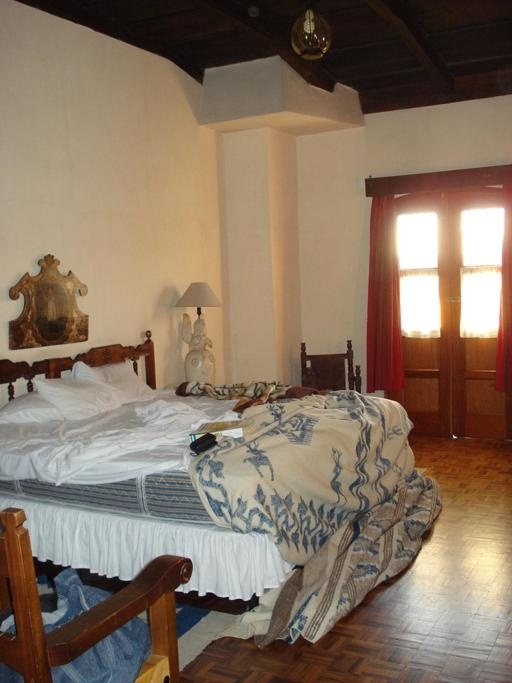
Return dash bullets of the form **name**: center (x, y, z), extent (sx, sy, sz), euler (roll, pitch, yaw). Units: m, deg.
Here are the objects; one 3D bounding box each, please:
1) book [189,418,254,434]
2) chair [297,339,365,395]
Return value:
- **book**: center (-0.169, 0.408, 2.731), extent (0.245, 0.035, 0.317), euler (-2, 1, -5)
- **chair**: center (0.751, 0.268, 6.032), extent (0.587, 0.976, 0.558), euler (-2, -5, 4)
